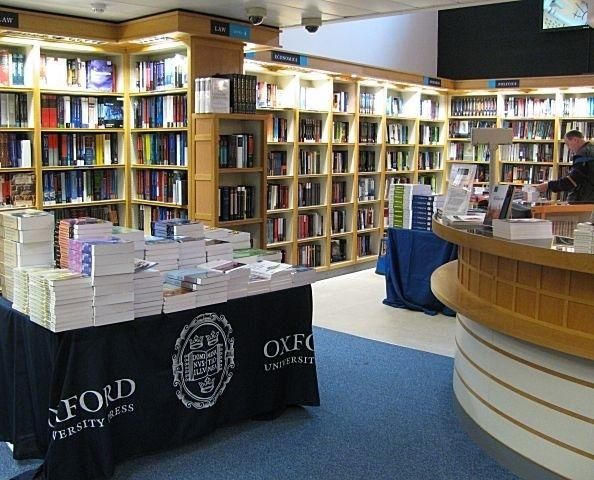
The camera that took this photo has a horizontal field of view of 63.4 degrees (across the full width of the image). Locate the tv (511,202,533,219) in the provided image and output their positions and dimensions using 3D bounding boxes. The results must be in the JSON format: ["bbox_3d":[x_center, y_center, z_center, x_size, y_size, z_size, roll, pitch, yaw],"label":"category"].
[{"bbox_3d":[1.756,-0.225,3.765,0.199,0.075,0.145,-5,9,-44],"label":"tv"}]

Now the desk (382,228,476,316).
[{"bbox_3d":[1.558,0.400,6.448,1.012,0.929,0.887,9,-2,2],"label":"desk"}]

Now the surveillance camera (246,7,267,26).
[{"bbox_3d":[-0.414,-2.282,4.853,0.179,0.137,0.144,11,13,43],"label":"surveillance camera"}]

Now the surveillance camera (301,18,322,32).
[{"bbox_3d":[0.156,-2.365,5.294,0.169,0.127,0.168,-2,7,-13],"label":"surveillance camera"}]
